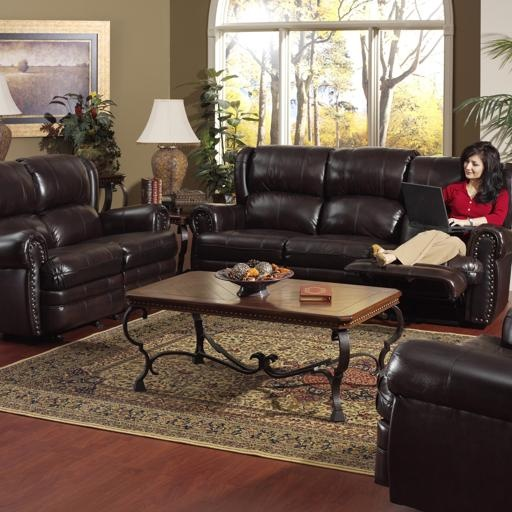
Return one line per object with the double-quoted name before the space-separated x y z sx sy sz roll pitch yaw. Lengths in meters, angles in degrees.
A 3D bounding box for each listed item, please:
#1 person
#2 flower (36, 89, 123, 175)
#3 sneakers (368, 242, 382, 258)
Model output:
"person" 1.186 -0.362 3.880 1.541 0.707 0.691 -9 16 -28
"flower" -1.957 -1.504 6.092 0.775 0.955 0.735 -11 18 4
"sneakers" 0.878 -0.028 3.707 0.124 0.107 0.106 0 2 23
